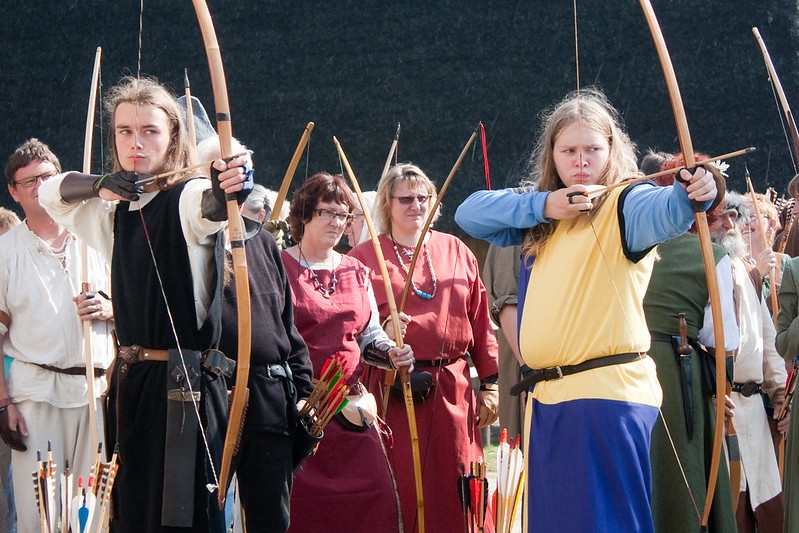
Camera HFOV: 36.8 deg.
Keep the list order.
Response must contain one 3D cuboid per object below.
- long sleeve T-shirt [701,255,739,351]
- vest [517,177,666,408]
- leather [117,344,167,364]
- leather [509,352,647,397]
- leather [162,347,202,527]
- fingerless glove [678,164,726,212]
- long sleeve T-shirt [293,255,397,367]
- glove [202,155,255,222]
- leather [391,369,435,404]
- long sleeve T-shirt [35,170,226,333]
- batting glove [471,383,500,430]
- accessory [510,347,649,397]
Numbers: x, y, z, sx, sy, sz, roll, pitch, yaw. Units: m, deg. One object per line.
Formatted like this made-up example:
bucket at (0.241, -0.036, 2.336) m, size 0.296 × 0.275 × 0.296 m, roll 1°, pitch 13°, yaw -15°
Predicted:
long sleeve T-shirt at (1.976, 0.217, 7.278) m, size 0.213 × 0.641 × 0.263 m, roll 3°, pitch 1°, yaw 27°
vest at (1.094, 0.173, 6.734) m, size 0.695 × 1.296 × 1.050 m, roll 9°, pitch -11°, yaw -24°
leather at (-1.392, 0.466, 6.435) m, size 0.163 × 0.072 × 0.125 m, roll 5°, pitch -2°, yaw 10°
leather at (0.952, 0.545, 6.489) m, size 0.480 × 0.087 × 0.342 m, roll -24°, pitch -4°, yaw 15°
leather at (-1.173, 0.899, 6.381) m, size 0.218 × 0.916 × 0.097 m, roll -2°, pitch -8°, yaw -12°
fingerless glove at (1.581, -0.395, 6.179) m, size 0.094 × 0.251 × 0.200 m, roll -14°, pitch -7°, yaw -32°
long sleeve T-shirt at (-0.360, 0.282, 7.318) m, size 0.591 × 0.723 × 0.420 m, roll 2°, pitch -24°, yaw -45°
glove at (-0.905, -0.397, 6.220) m, size 0.244 × 0.326 × 0.139 m, roll 8°, pitch 12°, yaw 5°
leather at (0.093, 0.771, 7.580) m, size 0.320 × 0.107 × 0.352 m, roll -9°, pitch 3°, yaw 18°
long sleeve T-shirt at (-1.550, -0.139, 6.677) m, size 0.923 × 0.897 × 0.310 m, roll 18°, pitch 7°, yaw 11°
batting glove at (0.562, 0.868, 7.636) m, size 0.103 × 0.251 × 0.187 m, roll -2°, pitch -5°, yaw 11°
accessory at (0.954, 0.544, 6.483) m, size 0.468 × 0.080 × 0.334 m, roll -24°, pitch -5°, yaw 14°
